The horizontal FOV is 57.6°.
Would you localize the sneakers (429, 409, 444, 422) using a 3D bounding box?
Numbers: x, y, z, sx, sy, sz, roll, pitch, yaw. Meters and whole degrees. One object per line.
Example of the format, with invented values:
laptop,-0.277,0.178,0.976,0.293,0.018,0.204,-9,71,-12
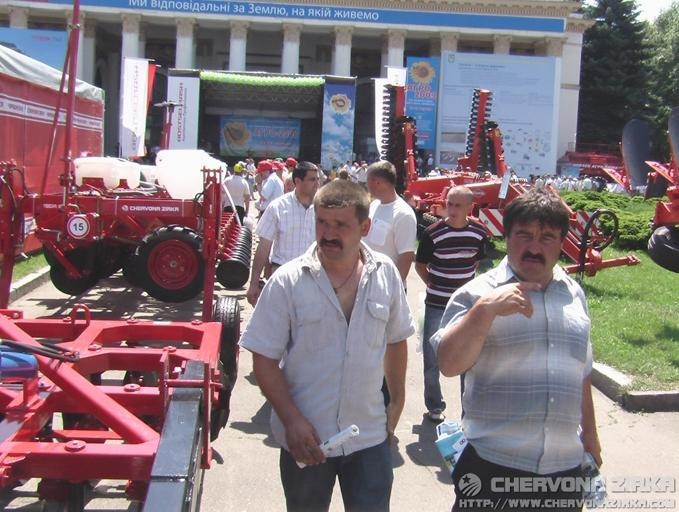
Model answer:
sneakers,0.928,1.545,5.953,0.088,0.090,0.135,2,-7,-2
